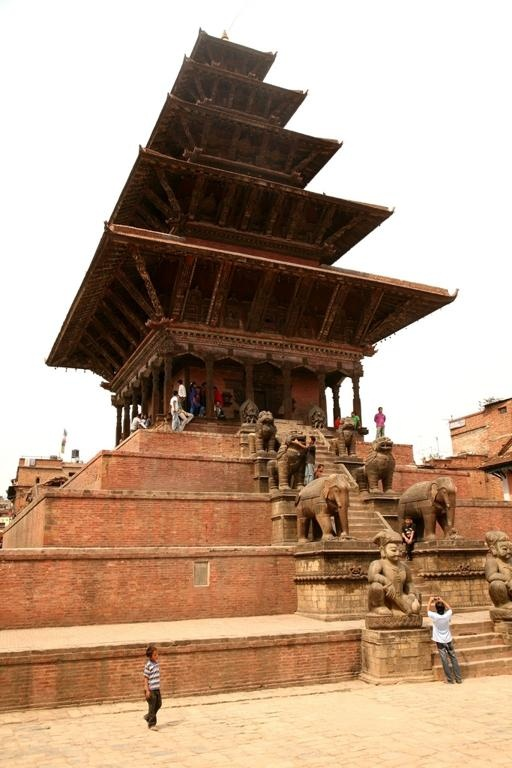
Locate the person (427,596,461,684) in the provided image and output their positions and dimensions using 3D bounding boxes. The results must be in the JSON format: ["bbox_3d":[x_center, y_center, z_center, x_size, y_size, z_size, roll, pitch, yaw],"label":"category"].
[{"bbox_3d":[2.631,3.612,9.626,0.373,1.152,0.646,-3,-8,16],"label":"person"}]

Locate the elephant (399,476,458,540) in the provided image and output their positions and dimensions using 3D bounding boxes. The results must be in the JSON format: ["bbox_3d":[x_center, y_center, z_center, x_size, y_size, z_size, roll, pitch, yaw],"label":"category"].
[{"bbox_3d":[3.639,2.726,14.739,0.629,1.367,1.369,2,-8,-24],"label":"elephant"}]

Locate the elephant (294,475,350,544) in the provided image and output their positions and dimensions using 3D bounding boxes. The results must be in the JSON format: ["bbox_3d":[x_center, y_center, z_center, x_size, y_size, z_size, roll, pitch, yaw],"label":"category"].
[{"bbox_3d":[1.301,2.443,13.270,0.762,1.266,1.551,9,-19,-24],"label":"elephant"}]

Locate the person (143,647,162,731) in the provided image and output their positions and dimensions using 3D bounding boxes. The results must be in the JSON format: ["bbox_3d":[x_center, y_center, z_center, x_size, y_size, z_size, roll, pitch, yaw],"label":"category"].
[{"bbox_3d":[-1.152,3.348,7.538,0.167,0.832,0.662,0,-8,-10],"label":"person"}]

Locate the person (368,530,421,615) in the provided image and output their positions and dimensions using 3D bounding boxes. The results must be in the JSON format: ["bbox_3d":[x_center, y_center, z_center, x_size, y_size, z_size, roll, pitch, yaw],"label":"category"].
[{"bbox_3d":[2.050,2.880,10.429,0.754,1.167,0.901,-2,-8,8],"label":"person"}]
